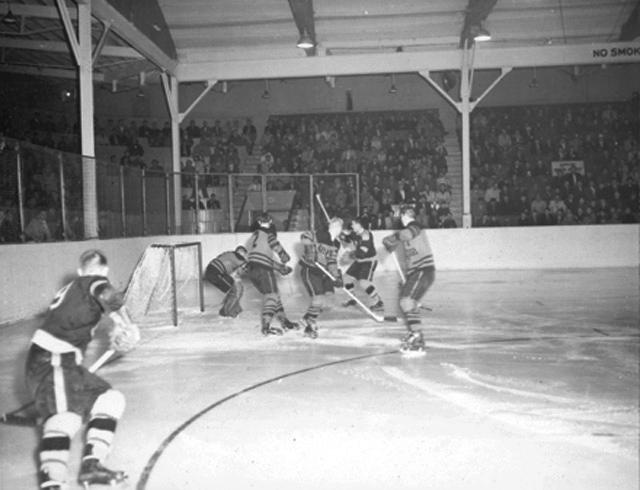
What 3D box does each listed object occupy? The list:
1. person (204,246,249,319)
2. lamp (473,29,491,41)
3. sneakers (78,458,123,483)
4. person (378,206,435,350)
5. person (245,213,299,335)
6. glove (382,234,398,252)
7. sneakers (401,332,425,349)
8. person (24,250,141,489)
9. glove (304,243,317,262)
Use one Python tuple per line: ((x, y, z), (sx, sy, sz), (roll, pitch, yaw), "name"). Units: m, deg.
((-1.351, 0.525, 11.440), (0.633, 1.217, 0.706), (-3, -6, 43), "person")
((2.921, -3.834, 13.503), (0.313, 0.220, 0.334), (5, 9, 24), "lamp")
((-1.938, 2.008, 6.588), (0.489, 0.250, 0.169), (0, 0, -8), "sneakers")
((1.138, 0.410, 9.186), (0.579, 1.769, 0.745), (-2, 6, -7), "person")
((-0.698, 0.378, 10.286), (0.656, 1.635, 0.932), (-2, 6, -7), "person")
((0.934, -0.045, 9.448), (0.196, 0.095, 0.205), (-19, -3, 35), "glove")
((1.118, 1.166, 8.994), (0.253, 0.173, 0.162), (-2, -1, 37), "sneakers")
((-2.162, 1.211, 6.653), (0.917, 1.795, 0.755), (-4, 6, -21), "person")
((-0.152, 0.104, 10.153), (0.213, 0.248, 0.128), (2, 7, 27), "glove")
